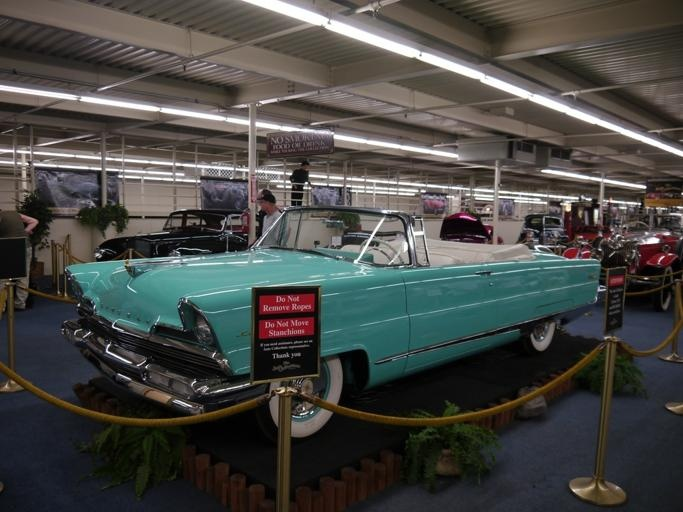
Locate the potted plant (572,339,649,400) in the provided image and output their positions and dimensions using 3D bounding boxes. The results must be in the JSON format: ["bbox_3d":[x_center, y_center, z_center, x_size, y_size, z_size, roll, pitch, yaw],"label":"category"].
[{"bbox_3d":[3.178,1.399,5.618,0.904,0.516,0.822,3,3,30],"label":"potted plant"}]

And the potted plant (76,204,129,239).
[{"bbox_3d":[-6.853,-1.151,13.397,1.665,1.028,1.004,2,29,-19],"label":"potted plant"}]

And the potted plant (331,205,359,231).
[{"bbox_3d":[0.067,-0.372,4.699,0.331,0.199,0.299,4,8,21],"label":"potted plant"}]

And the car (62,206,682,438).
[{"bbox_3d":[0.633,0.490,5.053,5.516,1.149,2.260,0,1,-35],"label":"car"}]

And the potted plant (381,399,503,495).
[{"bbox_3d":[0.869,1.583,3.809,0.723,0.336,0.500,-3,4,-16],"label":"potted plant"}]
